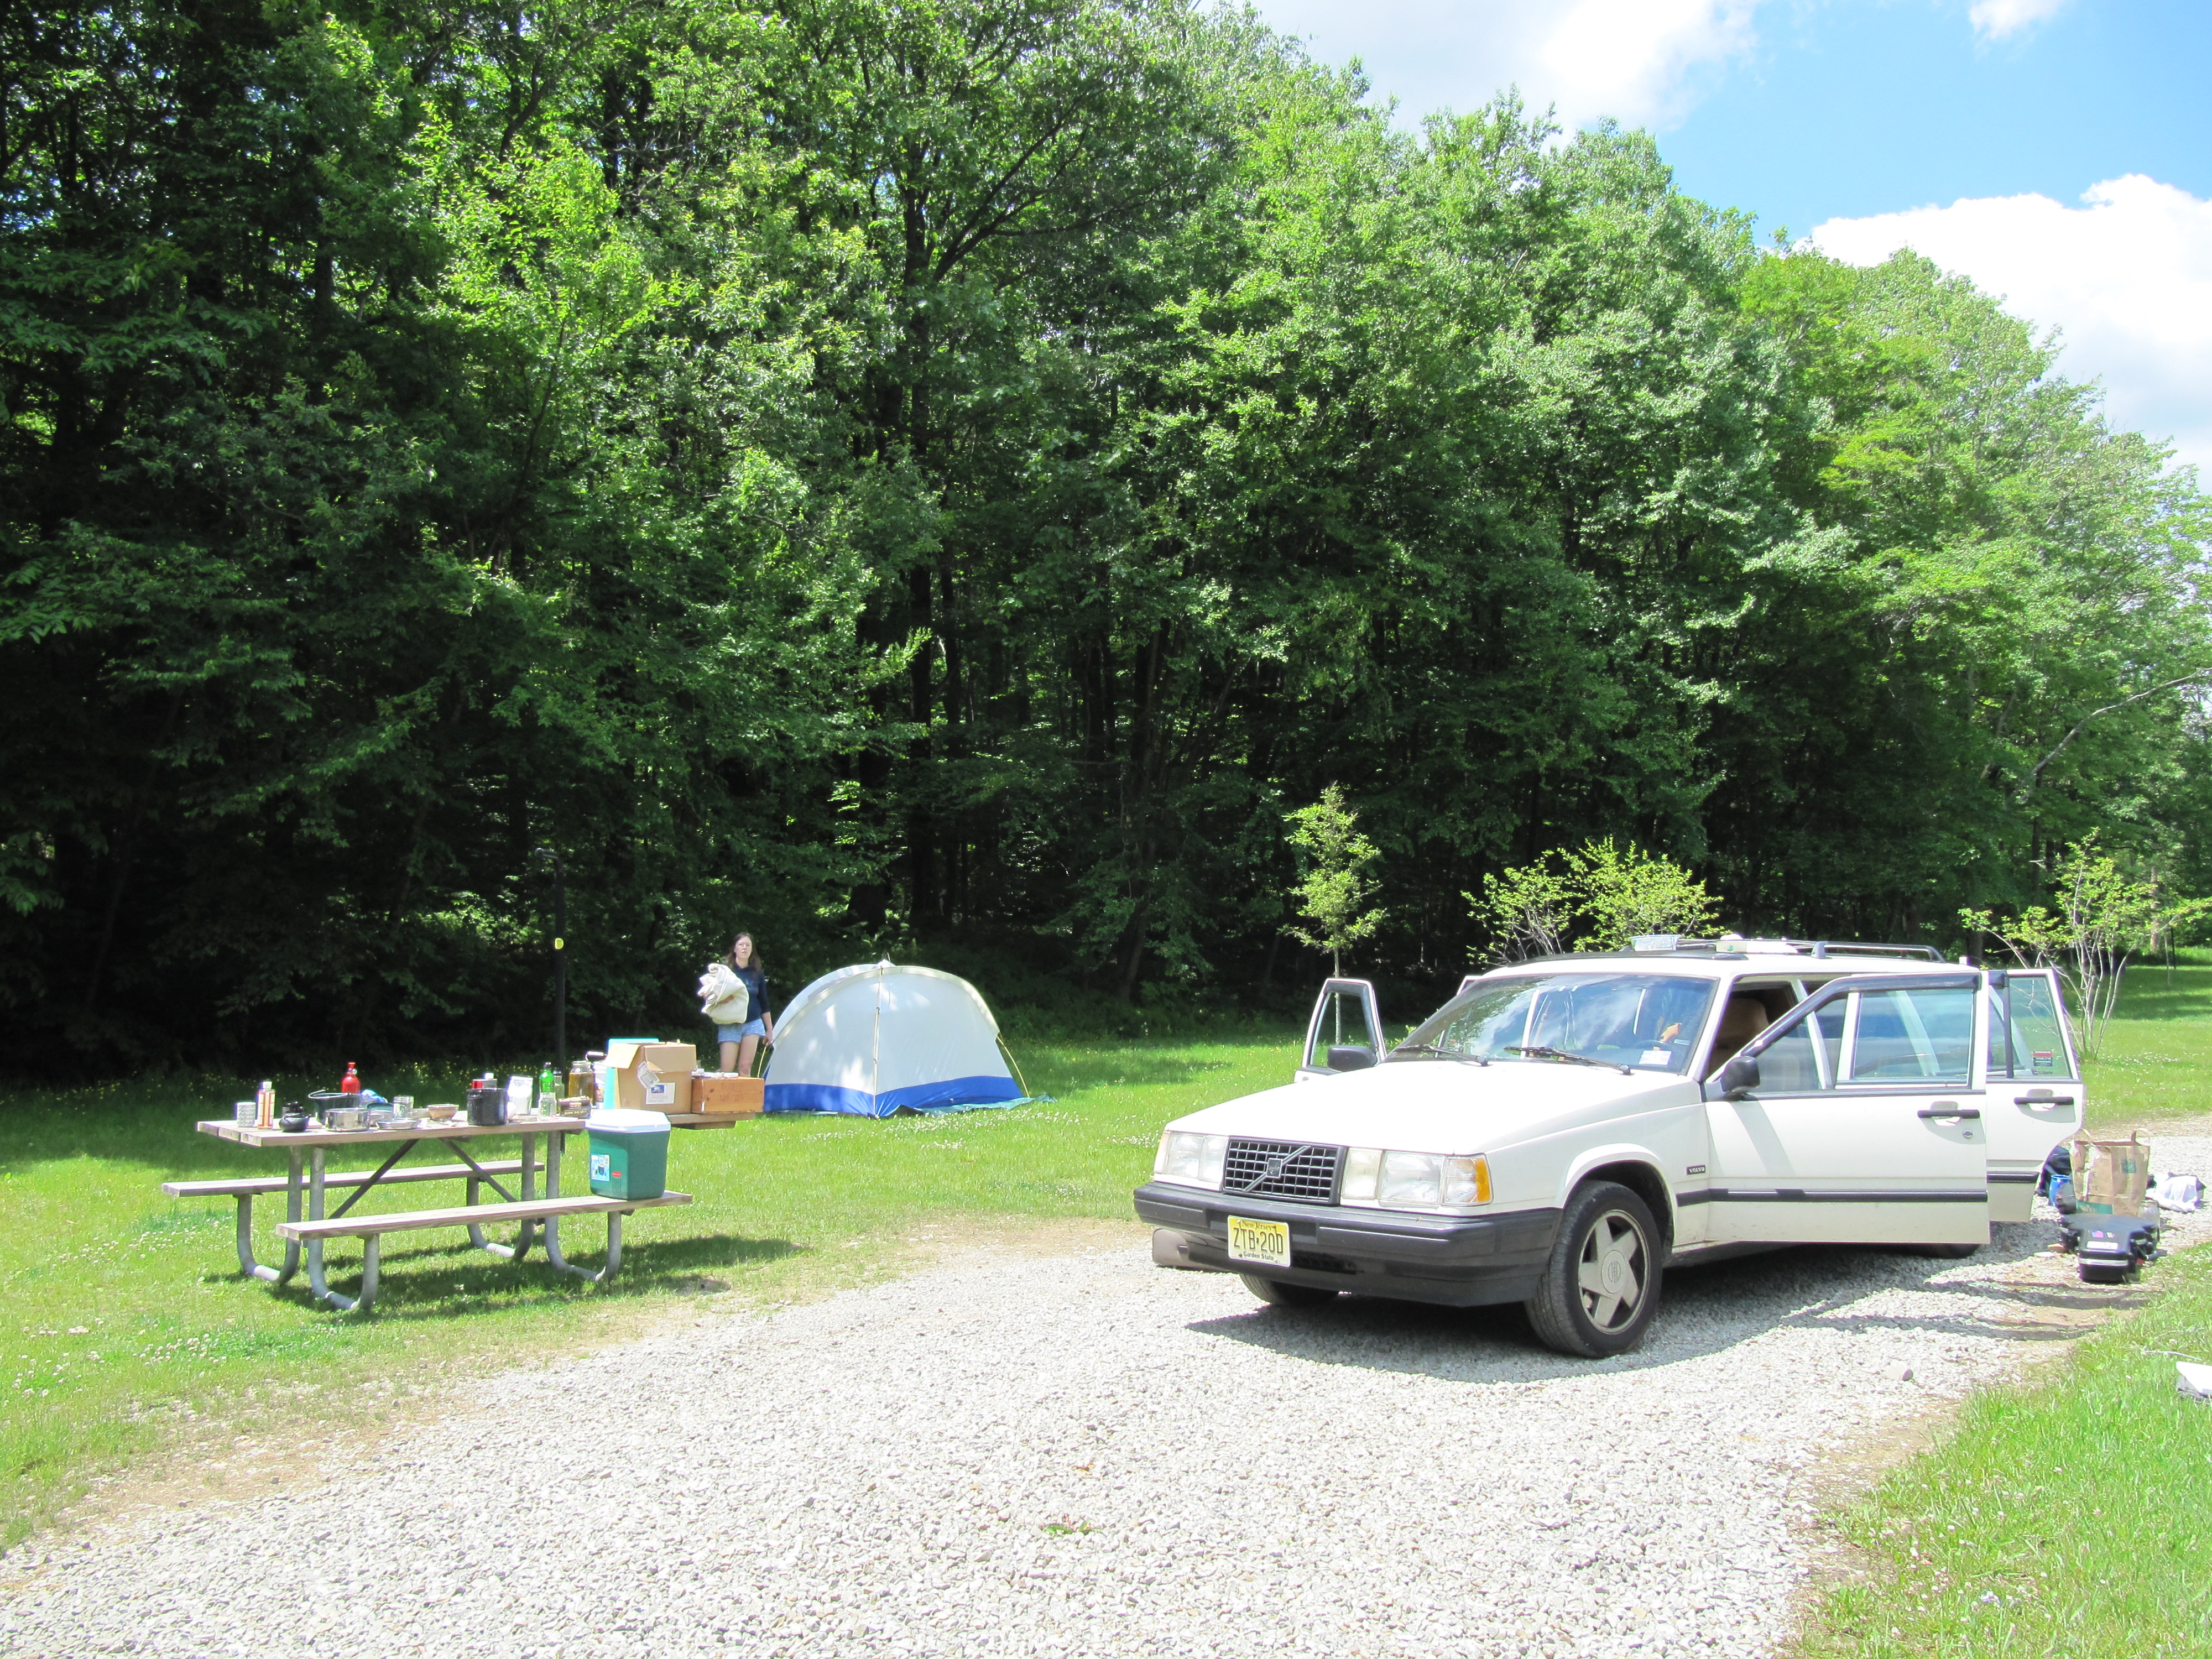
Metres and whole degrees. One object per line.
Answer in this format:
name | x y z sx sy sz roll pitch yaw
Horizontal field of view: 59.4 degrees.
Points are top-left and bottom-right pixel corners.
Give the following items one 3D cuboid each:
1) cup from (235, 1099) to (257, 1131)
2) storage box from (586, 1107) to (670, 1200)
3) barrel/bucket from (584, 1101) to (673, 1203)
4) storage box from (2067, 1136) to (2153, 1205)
cup | -6.012 1.996 13.471 0.178 0.251 0.179 -1 -5 0
storage box | -3.412 2.282 13.751 0.584 0.702 0.593 -1 -3 -1
barrel/bucket | -3.478 2.254 13.708 0.601 0.721 0.589 0 0 0
storage box | 7.068 2.404 13.631 0.608 0.588 0.299 -2 -13 11
